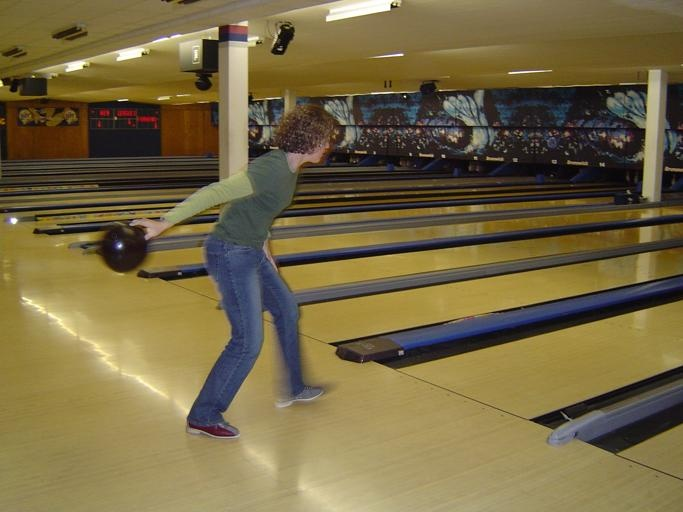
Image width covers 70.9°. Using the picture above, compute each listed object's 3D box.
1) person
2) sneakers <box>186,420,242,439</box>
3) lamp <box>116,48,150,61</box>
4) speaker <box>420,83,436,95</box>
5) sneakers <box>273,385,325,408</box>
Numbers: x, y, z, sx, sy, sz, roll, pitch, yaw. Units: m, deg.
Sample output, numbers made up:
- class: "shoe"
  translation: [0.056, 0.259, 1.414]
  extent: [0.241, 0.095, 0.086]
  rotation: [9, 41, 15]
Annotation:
- class: "person"
  translation: [-0.327, 0.064, 1.718]
  extent: [0.253, 1.200, 0.696]
  rotation: [11, 19, 43]
- class: "sneakers"
  translation: [-0.450, 0.633, 1.740]
  extent: [0.191, 0.057, 0.066]
  rotation: [2, 1, 0]
- class: "lamp"
  translation: [-3.331, -3.217, 7.635]
  extent: [0.470, 0.075, 0.401]
  rotation: [-2, 7, 20]
- class: "speaker"
  translation: [1.898, -3.659, 10.479]
  extent: [0.386, 0.260, 0.226]
  rotation: [1, 1, 18]
- class: "sneakers"
  translation: [-0.168, 0.595, 2.065]
  extent: [0.217, 0.060, 0.063]
  rotation: [-13, 23, -22]
